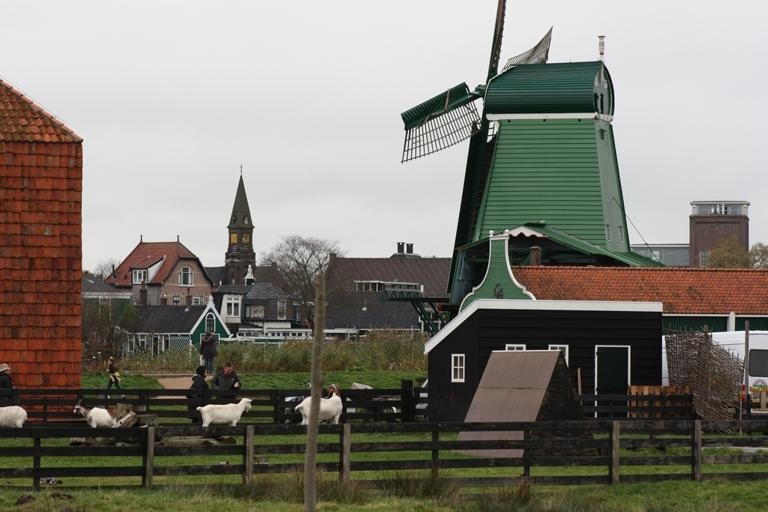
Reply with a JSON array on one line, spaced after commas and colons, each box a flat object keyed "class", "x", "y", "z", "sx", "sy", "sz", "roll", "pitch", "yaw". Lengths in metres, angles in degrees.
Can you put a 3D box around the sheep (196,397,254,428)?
[{"class": "sheep", "x": -4.676, "y": 4.506, "z": 45.710, "sx": 1.425, "sy": 0.777, "sz": 1.077, "roll": 2, "pitch": -7, "yaw": -13}]
